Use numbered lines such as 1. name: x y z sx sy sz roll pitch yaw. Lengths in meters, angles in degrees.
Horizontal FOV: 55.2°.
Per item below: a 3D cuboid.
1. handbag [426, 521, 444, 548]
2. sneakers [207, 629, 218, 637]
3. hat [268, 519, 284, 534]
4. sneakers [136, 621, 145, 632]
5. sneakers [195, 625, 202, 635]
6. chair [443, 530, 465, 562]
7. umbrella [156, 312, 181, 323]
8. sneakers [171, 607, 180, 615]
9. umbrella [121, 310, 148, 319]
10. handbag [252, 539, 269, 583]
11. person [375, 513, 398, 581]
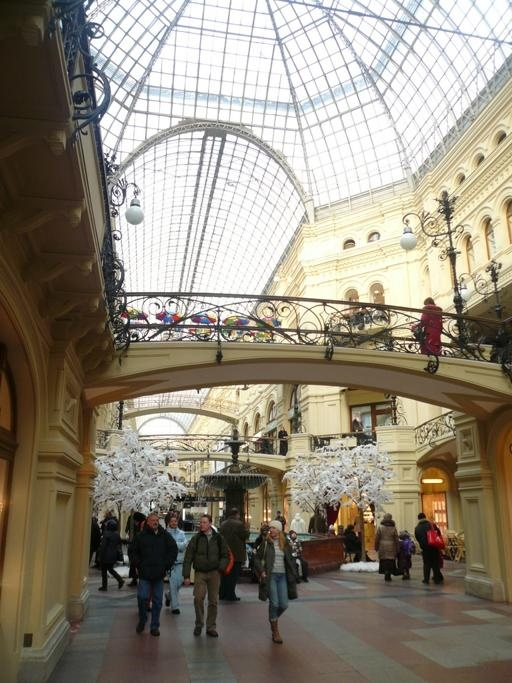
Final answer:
1. handbag: 3.709 4.060 10.202 0.305 0.516 0.509 -16 -23 39
2. sneakers: -0.494 3.334 5.605 0.066 0.060 0.132 10 -27 -21
3. hat: 0.233 2.120 5.650 0.166 0.183 0.229 4 -7 3
4. sneakers: -1.369 3.394 5.840 0.081 0.095 0.222 5 -30 -6
5. sneakers: -0.676 3.356 5.693 0.079 0.097 0.202 0 -18 -3
6. chair: 6.464 6.725 16.038 0.640 0.800 1.302 -7 -19 17
7. umbrella: -1.498 -0.419 8.287 0.300 0.178 0.397 4 -5 -6
8. sneakers: -1.149 3.862 7.036 0.133 0.127 0.065 6 -13 -12
9. umbrella: -1.823 -0.455 7.444 0.359 0.121 0.350 3 -19 -4
10. handbag: 0.061 2.555 5.677 0.186 0.476 0.356 0 -3 9
11. person: 2.912 4.554 10.847 0.484 1.407 0.821 -5 -19 12
